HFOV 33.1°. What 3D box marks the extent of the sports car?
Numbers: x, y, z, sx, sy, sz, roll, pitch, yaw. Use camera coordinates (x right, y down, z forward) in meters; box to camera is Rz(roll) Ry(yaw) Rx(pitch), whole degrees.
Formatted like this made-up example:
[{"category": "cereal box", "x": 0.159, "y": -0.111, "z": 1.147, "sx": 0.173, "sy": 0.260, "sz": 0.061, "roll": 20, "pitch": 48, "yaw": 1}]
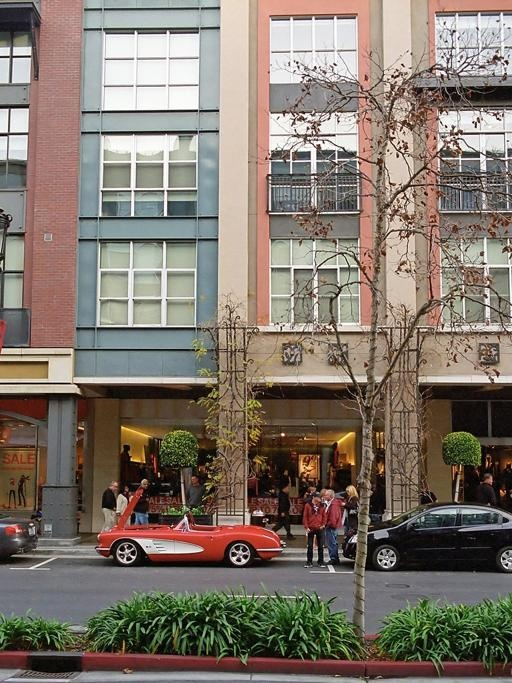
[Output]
[{"category": "sports car", "x": -1.252, "y": 3.760, "z": 17.651, "sx": 3.670, "sy": 1.600, "sz": 1.529, "roll": -1, "pitch": -11, "yaw": 3}]
